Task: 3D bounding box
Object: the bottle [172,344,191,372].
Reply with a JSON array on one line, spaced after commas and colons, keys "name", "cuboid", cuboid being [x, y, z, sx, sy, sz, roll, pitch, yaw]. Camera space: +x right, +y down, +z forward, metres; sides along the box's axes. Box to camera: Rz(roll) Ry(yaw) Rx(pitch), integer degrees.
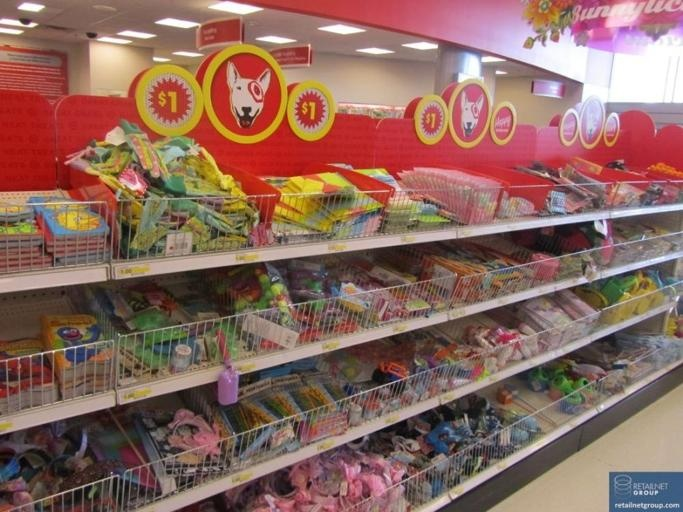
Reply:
[{"name": "bottle", "cuboid": [-0.716, 0.456, 2.180, 0.110, 0.116, 0.107, 6, 32, -12]}]
